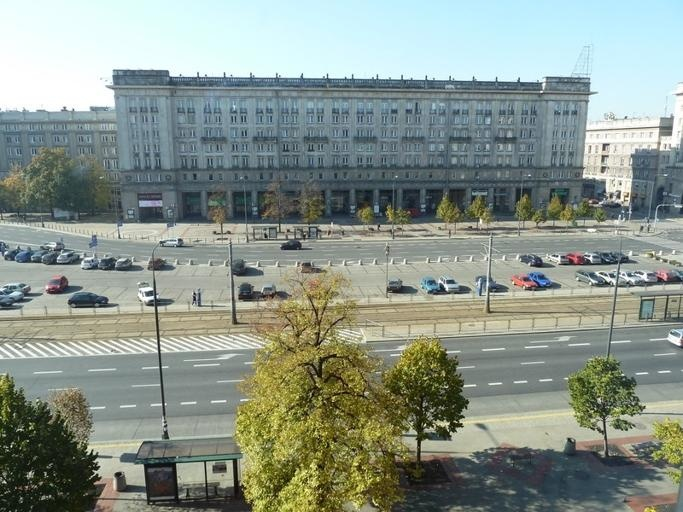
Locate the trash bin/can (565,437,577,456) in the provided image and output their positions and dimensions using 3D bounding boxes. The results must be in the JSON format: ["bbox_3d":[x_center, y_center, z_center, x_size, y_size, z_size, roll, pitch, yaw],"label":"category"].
[{"bbox_3d":[18.471,15.355,57.038,0.876,1.339,1.154,0,6,18],"label":"trash bin/can"}]

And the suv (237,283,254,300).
[{"bbox_3d":[-12.179,4.258,88.500,1.304,0.844,2.646,1,24,-8],"label":"suv"}]

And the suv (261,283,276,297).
[{"bbox_3d":[-9.197,4.336,87.668,1.655,1.348,2.675,-2,5,-10],"label":"suv"}]

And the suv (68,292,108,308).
[{"bbox_3d":[-30.875,5.403,85.651,4.498,1.283,1.874,-1,13,-9],"label":"suv"}]

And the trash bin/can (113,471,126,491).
[{"bbox_3d":[-17.020,17.196,53.900,0.973,1.412,0.930,-2,6,-2],"label":"trash bin/can"}]

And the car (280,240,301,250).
[{"bbox_3d":[-8.422,-1.877,115.811,2.829,1.162,1.515,3,10,-5],"label":"car"}]

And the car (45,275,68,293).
[{"bbox_3d":[-37.110,3.696,91.802,2.284,2.006,2.830,-1,5,7],"label":"car"}]

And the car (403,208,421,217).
[{"bbox_3d":[15.176,-9.704,153.386,4.597,1.810,2.463,-4,16,-8],"label":"car"}]

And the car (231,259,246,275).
[{"bbox_3d":[-14.514,1.530,99.115,1.697,1.780,3.772,-2,5,-6],"label":"car"}]
